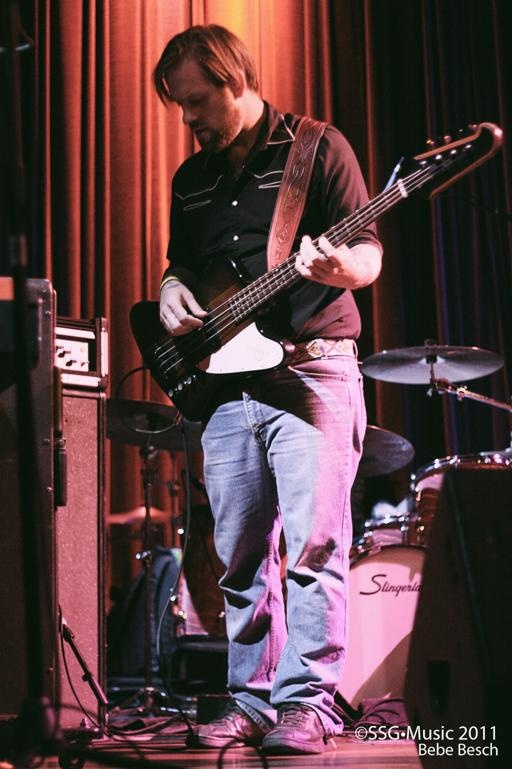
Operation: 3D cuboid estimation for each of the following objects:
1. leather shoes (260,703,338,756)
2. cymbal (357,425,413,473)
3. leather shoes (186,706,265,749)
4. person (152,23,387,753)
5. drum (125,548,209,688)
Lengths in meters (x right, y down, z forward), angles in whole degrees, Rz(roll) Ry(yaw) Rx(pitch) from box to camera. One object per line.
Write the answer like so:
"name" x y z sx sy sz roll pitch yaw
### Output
"leather shoes" 0.072 0.635 1.761 0.063 0.060 0.144 -9 -26 16
"cymbal" 0.379 0.206 2.842 0.164 0.042 0.163 21 -36 -34
"leather shoes" -0.057 0.701 1.955 0.163 0.084 0.089 1 -3 -4
"person" 0.022 -0.042 2.018 0.403 1.556 0.659 2 -3 -21
"drum" -0.352 0.809 3.288 0.145 0.485 0.349 3 -1 -30
